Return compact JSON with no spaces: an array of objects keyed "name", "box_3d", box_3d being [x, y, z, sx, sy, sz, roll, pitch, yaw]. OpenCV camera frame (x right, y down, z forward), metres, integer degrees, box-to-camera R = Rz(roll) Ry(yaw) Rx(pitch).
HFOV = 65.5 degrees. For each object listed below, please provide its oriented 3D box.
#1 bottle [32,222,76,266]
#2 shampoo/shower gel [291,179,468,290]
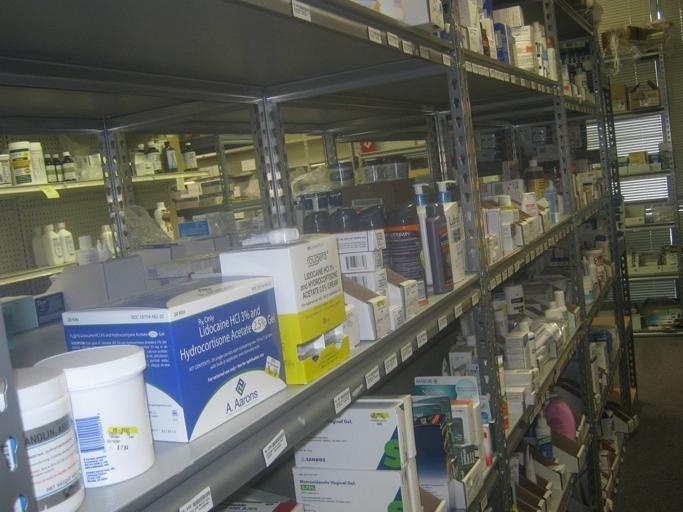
[{"name":"bottle","box_3d":[-2.090,-0.076,3.841,0.282,0.496,0.263,-4,3,0]},{"name":"shampoo/shower gel","box_3d":[0.122,-0.057,1.538,0.185,0.259,0.379,-3,3,24]}]
